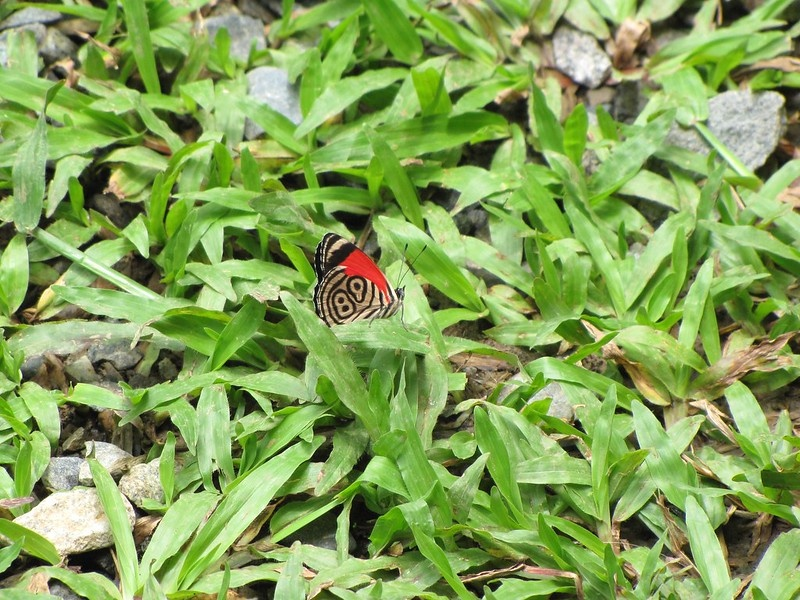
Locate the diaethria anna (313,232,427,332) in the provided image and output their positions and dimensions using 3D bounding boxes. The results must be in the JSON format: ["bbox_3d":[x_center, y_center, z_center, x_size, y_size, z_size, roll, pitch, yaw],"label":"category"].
[{"bbox_3d":[-0.155,-0.029,2.682,0.345,0.254,0.341,-17,54,5],"label":"diaethria anna"}]
